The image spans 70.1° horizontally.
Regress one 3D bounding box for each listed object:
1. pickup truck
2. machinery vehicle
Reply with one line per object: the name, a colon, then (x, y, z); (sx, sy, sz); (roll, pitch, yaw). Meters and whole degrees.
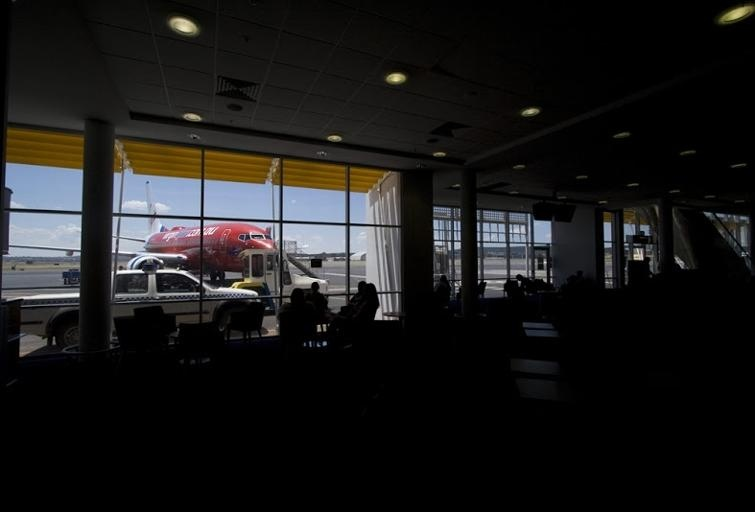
pickup truck: (-4.999, 0.896, 11.297); (4.400, 1.435, 1.802); (-1, 0, -25)
machinery vehicle: (-2.874, 0.666, 14.835); (3.162, 1.450, 1.873); (-2, 4, -8)
